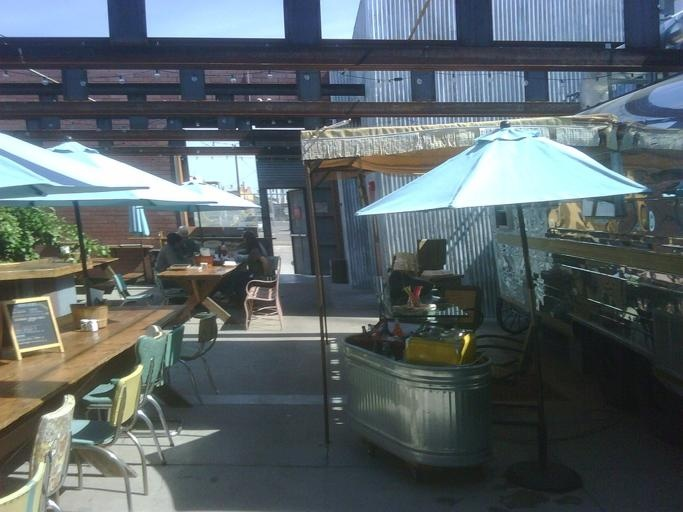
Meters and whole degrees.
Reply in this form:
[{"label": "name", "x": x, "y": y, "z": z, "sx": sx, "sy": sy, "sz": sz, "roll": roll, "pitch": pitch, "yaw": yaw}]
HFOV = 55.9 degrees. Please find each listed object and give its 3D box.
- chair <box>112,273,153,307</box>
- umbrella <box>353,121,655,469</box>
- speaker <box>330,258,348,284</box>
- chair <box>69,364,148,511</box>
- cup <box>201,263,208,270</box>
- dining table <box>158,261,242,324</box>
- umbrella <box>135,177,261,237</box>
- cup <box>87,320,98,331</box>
[{"label": "chair", "x": -4.017, "y": 0.666, "z": 12.369, "sx": 1.000, "sy": 0.714, "sz": 0.557, "roll": -1, "pitch": 9, "yaw": -4}, {"label": "umbrella", "x": 1.527, "y": 0.063, "z": 6.700, "sx": 3.134, "sy": 2.425, "sz": 3.044, "roll": -13, "pitch": 10, "yaw": -36}, {"label": "speaker", "x": -0.074, "y": 0.369, "z": 14.787, "sx": 0.331, "sy": 0.507, "sz": 0.429, "roll": -4, "pitch": 14, "yaw": -5}, {"label": "chair", "x": -1.998, "y": 1.527, "z": 5.607, "sx": 0.676, "sy": 1.141, "sz": 1.073, "roll": -8, "pitch": 15, "yaw": -21}, {"label": "cup", "x": -2.365, "y": 0.187, "z": 11.126, "sx": 0.120, "sy": 0.084, "sz": 0.110, "roll": -2, "pitch": 0, "yaw": 0}, {"label": "dining table", "x": -2.352, "y": 0.503, "z": 10.780, "sx": 1.099, "sy": 0.832, "sz": 1.758, "roll": -1, "pitch": 3, "yaw": -1}, {"label": "umbrella", "x": -2.339, "y": -1.020, "z": 11.317, "sx": 2.250, "sy": 0.976, "sz": 2.060, "roll": 0, "pitch": 2, "yaw": -7}, {"label": "cup", "x": -2.543, "y": 0.720, "z": 6.642, "sx": 0.114, "sy": 0.107, "sz": 0.105, "roll": 0, "pitch": 6, "yaw": 0}]
